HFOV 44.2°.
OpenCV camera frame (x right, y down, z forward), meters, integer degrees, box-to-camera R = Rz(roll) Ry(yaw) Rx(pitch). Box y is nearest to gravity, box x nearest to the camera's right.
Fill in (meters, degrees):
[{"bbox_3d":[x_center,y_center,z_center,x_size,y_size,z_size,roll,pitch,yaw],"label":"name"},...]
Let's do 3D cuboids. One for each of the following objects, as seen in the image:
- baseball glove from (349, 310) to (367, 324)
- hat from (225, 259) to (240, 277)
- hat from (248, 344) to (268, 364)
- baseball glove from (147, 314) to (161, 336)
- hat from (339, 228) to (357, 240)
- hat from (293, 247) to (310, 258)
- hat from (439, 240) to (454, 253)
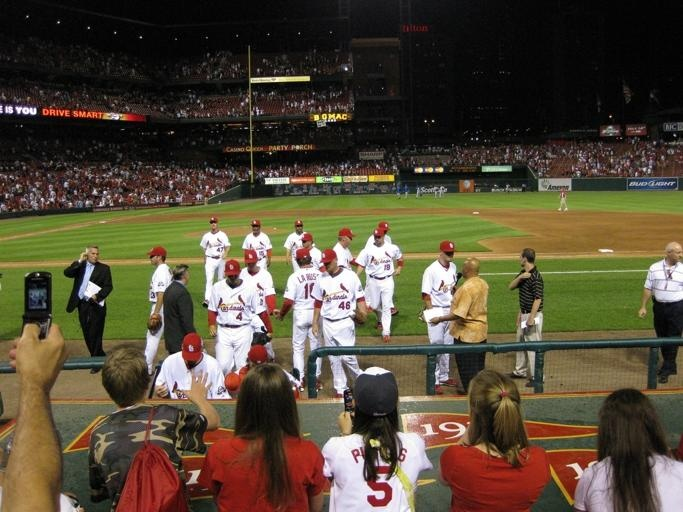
[{"bbox_3d":[0.590,2.042,27.330,0.354,0.348,0.432,2,4,-12],"label":"baseball glove"},{"bbox_3d":[-3.588,0.415,27.452,0.395,0.327,0.595,1,17,-4],"label":"hat"},{"bbox_3d":[-2.535,3.014,25.206,0.591,0.557,0.627,-2,4,-5],"label":"hat"},{"bbox_3d":[-6.214,2.338,27.903,0.423,0.594,0.563,1,-26,-3],"label":"baseball glove"},{"bbox_3d":[0.200,-0.740,30.921,0.523,0.310,0.396,-1,21,-8],"label":"hat"},{"bbox_3d":[-1.316,-0.022,28.039,0.287,0.430,0.426,8,-10,-7],"label":"hat"},{"bbox_3d":[3.590,-0.261,28.344,0.430,0.418,0.544,-1,4,14],"label":"hat"}]
